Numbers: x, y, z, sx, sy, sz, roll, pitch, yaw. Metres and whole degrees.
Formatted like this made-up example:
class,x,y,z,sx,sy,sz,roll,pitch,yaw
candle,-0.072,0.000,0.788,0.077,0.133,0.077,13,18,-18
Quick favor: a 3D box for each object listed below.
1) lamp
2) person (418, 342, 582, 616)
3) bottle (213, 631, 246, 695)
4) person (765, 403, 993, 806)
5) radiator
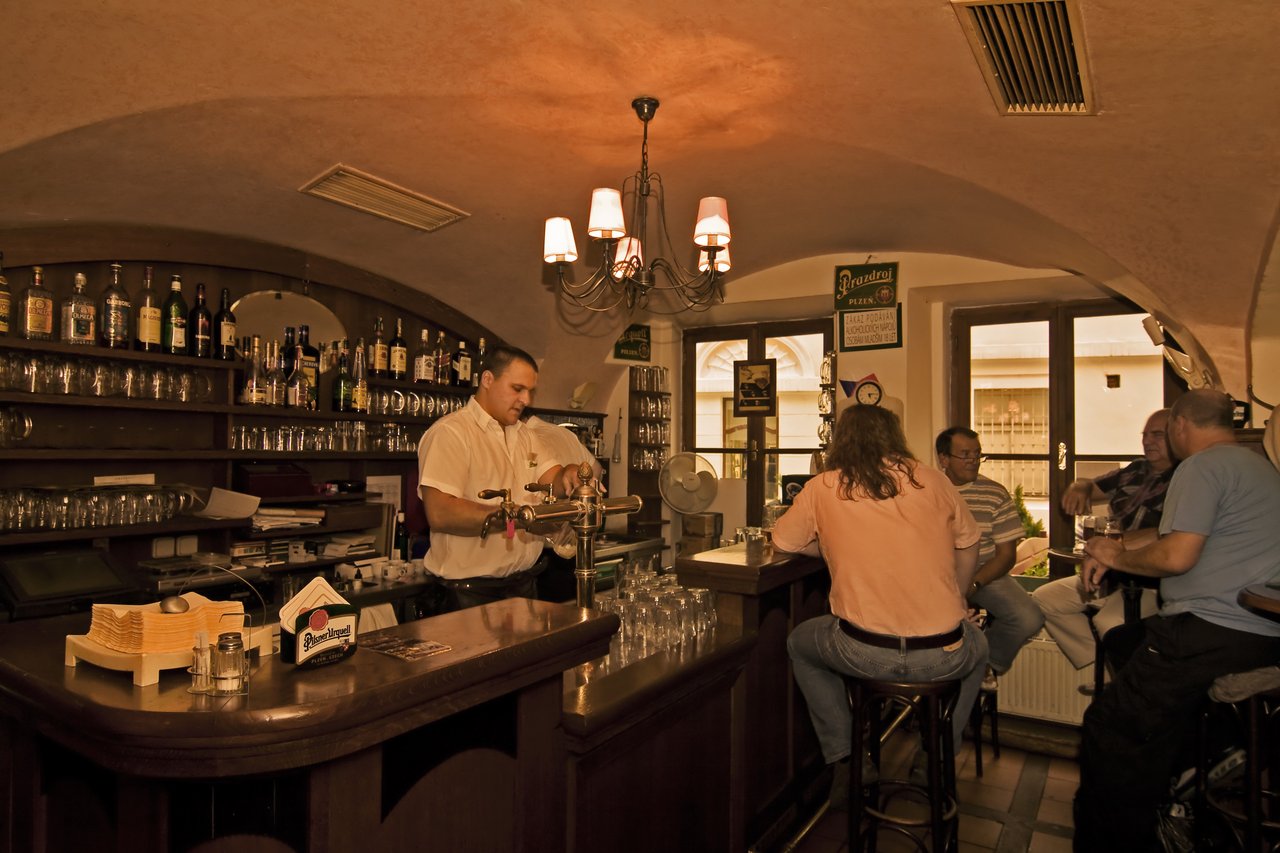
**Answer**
class,x,y,z,sx,sy,sz,roll,pitch,yaw
lamp,-0.064,-1.176,5.411,1.057,1.109,0.866,-1,-1,-27
person,-0.633,0.233,4.499,0.661,0.940,1.162,-2,1,-12
bottle,-1.263,0.723,3.116,0.096,0.173,0.046,-2,1,-22
person,1.057,0.727,4.593,0.844,1.644,0.402,-1,1,27
radiator,2.458,1.487,6.019,0.819,0.750,0.093,1,-6,27
